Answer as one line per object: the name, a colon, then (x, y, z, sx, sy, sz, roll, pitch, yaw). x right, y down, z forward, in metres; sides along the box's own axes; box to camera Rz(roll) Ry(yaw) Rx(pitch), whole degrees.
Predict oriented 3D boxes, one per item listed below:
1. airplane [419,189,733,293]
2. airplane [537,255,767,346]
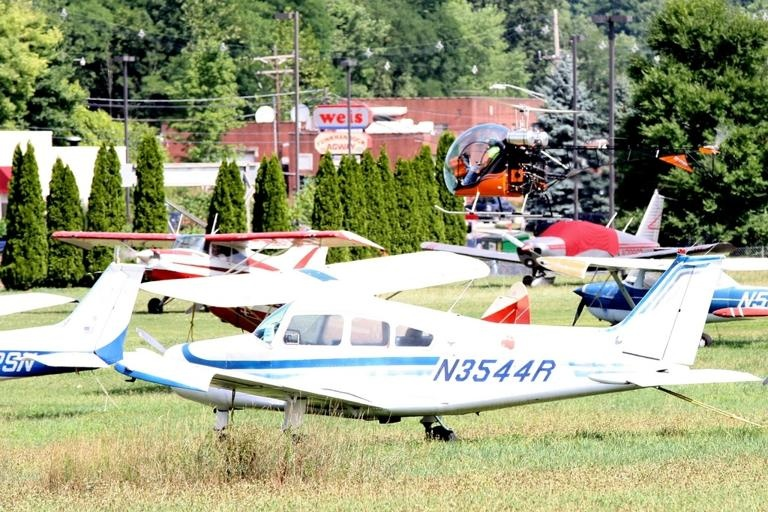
airplane: (6.253, -0.485, 54.089, 6.897, 6.167, 5.292, 0, 2, -17)
airplane: (8.751, 0.992, 46.155, 4.804, 4.340, 3.788, -1, 3, -19)
